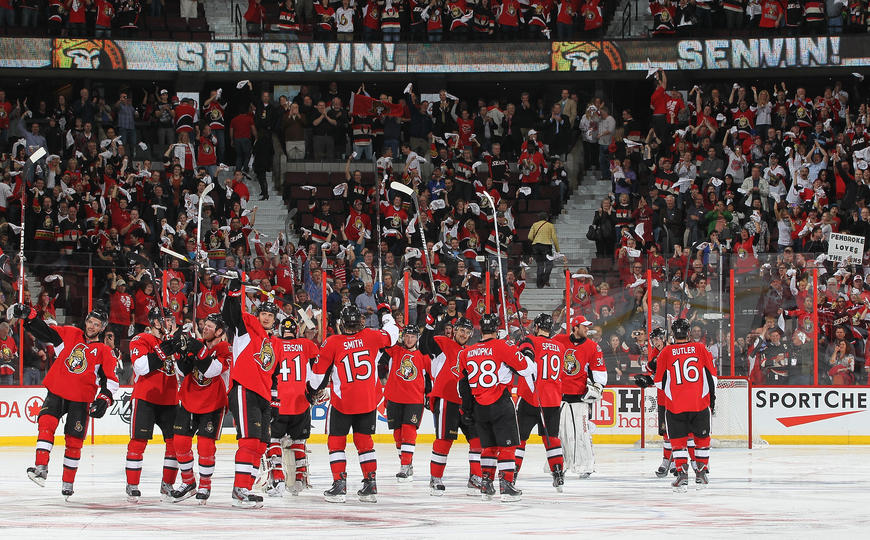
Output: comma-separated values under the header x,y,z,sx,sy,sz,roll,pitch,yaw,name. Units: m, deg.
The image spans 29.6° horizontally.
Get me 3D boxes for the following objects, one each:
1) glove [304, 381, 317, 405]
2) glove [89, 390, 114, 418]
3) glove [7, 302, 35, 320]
x,y,z,sx,sy,sz,roll,pitch,yaw,name
-2.226,2.130,28.982,0.208,0.409,0.394,-2,-1,-8,glove
-5.922,2.310,28.818,0.335,0.476,0.215,29,-10,22,glove
-7.376,0.692,29.151,0.391,0.291,0.562,-1,-1,-24,glove
